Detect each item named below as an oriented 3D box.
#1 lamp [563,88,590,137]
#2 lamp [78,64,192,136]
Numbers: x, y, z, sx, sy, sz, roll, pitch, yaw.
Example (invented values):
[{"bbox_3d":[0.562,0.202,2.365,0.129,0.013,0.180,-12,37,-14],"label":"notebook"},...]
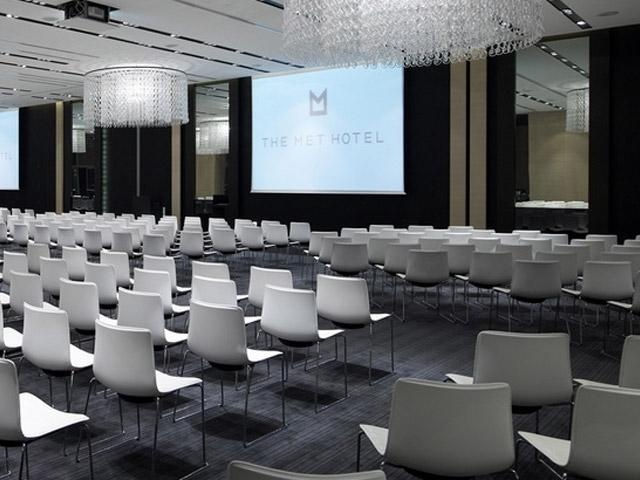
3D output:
[{"bbox_3d":[5.579,-2.825,10.834,0.434,1.001,0.222,1,5,27],"label":"lamp"},{"bbox_3d":[-4.868,-3.821,13.119,1.709,1.025,1.887,1,2,21],"label":"lamp"}]
